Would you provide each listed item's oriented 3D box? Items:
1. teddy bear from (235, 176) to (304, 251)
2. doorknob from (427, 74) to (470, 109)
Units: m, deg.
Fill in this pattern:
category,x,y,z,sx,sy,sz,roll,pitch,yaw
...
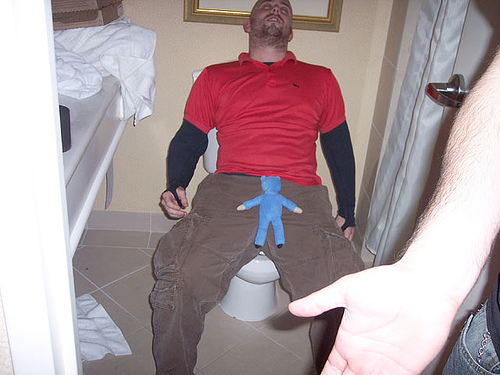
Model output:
category,x,y,z,sx,sy,sz,roll,pitch,yaw
teddy bear,0.070,0.098,1.513,0.255,0.089,0.309,-1,55,5
doorknob,0.529,-0.263,1.090,0.091,0.090,0.090,12,25,21
